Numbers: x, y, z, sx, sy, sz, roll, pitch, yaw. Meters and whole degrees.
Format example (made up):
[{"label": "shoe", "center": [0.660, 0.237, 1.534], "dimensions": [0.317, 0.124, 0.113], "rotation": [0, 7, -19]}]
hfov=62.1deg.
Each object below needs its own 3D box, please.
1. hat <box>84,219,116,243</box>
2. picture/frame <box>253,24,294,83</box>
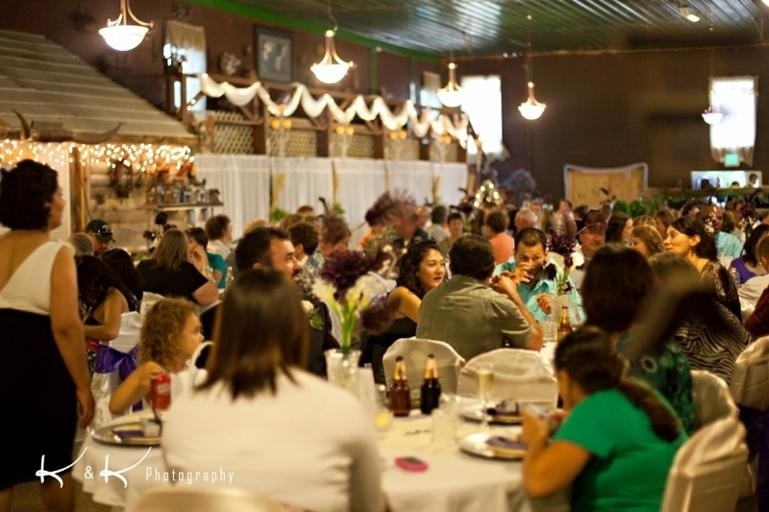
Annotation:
[{"label": "hat", "center": [-2.834, -0.283, 6.406], "dimensions": [0.309, 0.183, 0.230], "rotation": [22, 10, 20]}, {"label": "picture/frame", "center": [-2.398, -4.493, 14.306], "dimensions": [0.102, 1.171, 1.125], "rotation": [3, 5, 37]}]
